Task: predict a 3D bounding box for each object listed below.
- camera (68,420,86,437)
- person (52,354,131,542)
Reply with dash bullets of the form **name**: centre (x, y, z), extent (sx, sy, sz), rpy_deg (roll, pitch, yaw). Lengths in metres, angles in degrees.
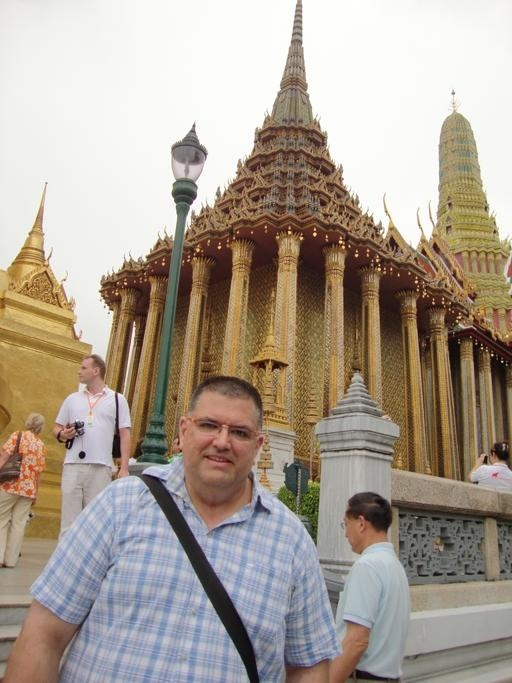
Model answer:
- **camera**: centre (-1.134, 0.554, 3.378), extent (0.074, 0.090, 0.092), rpy_deg (11, -54, -42)
- **person**: centre (-1.083, 0.774, 3.504), extent (0.472, 1.321, 0.408), rpy_deg (4, 8, -20)
